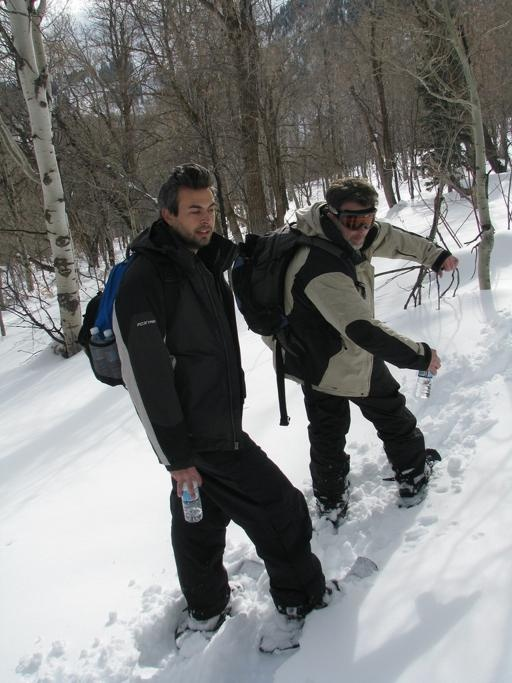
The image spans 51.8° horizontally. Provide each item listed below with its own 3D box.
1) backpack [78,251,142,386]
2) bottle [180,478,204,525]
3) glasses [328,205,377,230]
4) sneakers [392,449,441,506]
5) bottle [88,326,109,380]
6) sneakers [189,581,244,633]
[{"bbox_3d":[-0.595,-0.066,2.163,0.264,0.371,0.160,-7,11,28],"label":"backpack"},{"bbox_3d":[-0.262,0.658,2.153,0.078,0.197,0.076,-12,9,2],"label":"bottle"},{"bbox_3d":[0.490,-0.646,2.665,0.131,0.059,0.168,-14,28,-25],"label":"glasses"},{"bbox_3d":[0.985,0.758,3.163,0.155,0.209,0.471,5,34,35],"label":"sneakers"},{"bbox_3d":[-0.637,0.039,2.147,0.083,0.138,0.036,-14,9,-12],"label":"bottle"},{"bbox_3d":[-0.175,1.307,2.573,0.099,0.133,0.304,-2,-11,22],"label":"sneakers"}]
